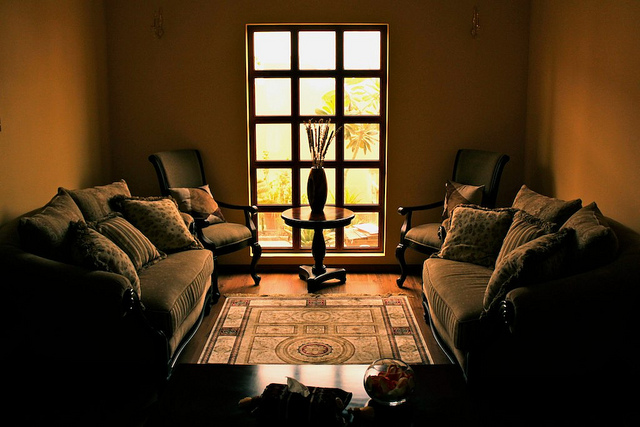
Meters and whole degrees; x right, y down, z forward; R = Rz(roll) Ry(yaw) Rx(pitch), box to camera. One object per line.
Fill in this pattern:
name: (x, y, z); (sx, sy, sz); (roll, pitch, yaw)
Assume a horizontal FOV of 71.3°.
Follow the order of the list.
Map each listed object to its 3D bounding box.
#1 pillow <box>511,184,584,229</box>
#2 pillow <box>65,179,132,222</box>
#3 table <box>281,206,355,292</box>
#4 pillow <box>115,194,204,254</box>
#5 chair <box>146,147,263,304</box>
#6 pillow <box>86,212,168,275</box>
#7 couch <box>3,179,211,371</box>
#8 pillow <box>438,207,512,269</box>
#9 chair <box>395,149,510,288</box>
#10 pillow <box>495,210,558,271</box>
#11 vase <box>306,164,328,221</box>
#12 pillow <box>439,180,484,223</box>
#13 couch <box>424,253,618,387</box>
pillow: (1.724, -0.027, 3.711); (0.662, 0.170, 0.669); (-11, 3, -13)
pillow: (-1.895, -0.108, 3.790); (0.098, 0.242, 0.401); (-19, 7, 13)
table: (-0.004, 0.398, 5.038); (0.855, 0.889, 0.837); (-10, 14, -43)
pillow: (-1.438, 0.060, 3.971); (0.169, 0.561, 0.558); (-36, -15, 30)
chair: (-1.268, 0.071, 4.882); (0.953, 1.484, 0.894); (6, 12, 32)
pillow: (-1.536, 0.198, 3.548); (0.121, 0.460, 0.456); (-30, 3, 12)
couch: (-1.540, 0.454, 3.352); (1.079, 1.115, 1.338); (-1, 17, -1)
pillow: (1.321, 0.197, 3.777); (0.151, 0.498, 0.487); (17, -5, -42)
chair: (1.368, 0.046, 5.057); (1.099, 1.505, 1.074); (5, 2, 21)
pillow: (1.594, 0.212, 3.393); (0.132, 0.448, 0.375); (33, -13, -16)
vase: (-0.023, -0.260, 4.850); (0.201, 0.483, 0.230); (-3, 17, -6)
pillow: (1.440, -0.131, 4.444); (0.182, 0.486, 0.402); (18, -7, -36)
couch: (1.304, 0.750, 2.997); (0.702, 0.678, 1.077); (3, 5, -1)
